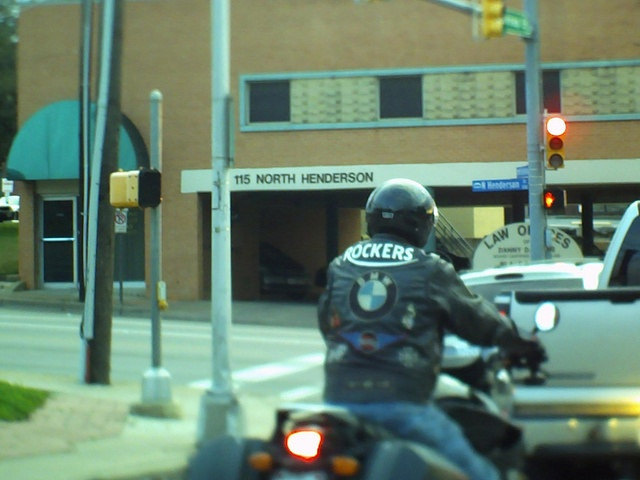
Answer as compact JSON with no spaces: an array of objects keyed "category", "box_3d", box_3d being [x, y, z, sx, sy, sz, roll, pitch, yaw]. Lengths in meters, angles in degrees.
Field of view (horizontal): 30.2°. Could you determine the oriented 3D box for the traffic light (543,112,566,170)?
[{"category":"traffic light","box_3d":[4.649,-1.935,23.477,0.406,1.058,0.355,2,5,9]}]
